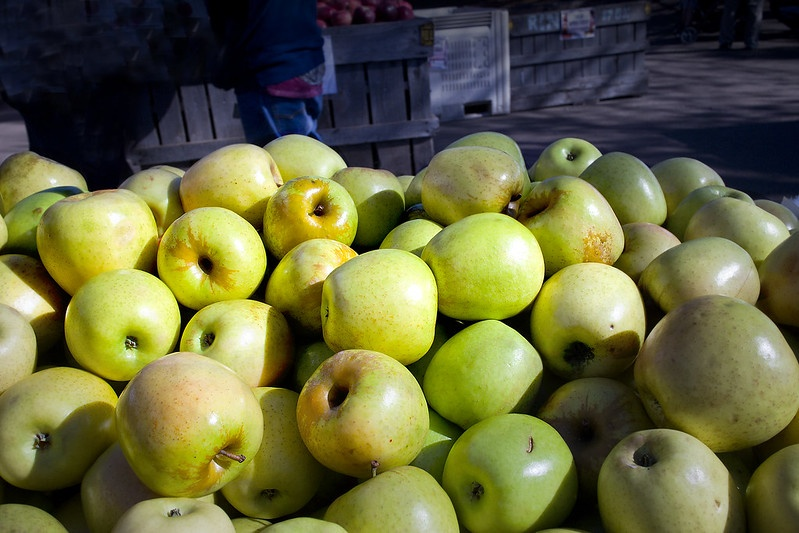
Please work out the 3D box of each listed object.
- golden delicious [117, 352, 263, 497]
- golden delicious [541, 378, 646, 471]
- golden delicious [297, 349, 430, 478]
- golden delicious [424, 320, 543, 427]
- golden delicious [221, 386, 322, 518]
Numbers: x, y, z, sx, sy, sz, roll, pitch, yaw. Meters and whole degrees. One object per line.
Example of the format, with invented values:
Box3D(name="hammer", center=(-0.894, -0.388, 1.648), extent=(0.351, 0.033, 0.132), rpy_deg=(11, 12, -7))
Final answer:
Box3D(name="golden delicious", center=(-0.781, 0.592, 2.513), extent=(0.507, 0.417, 0.339), rpy_deg=(11, 30, 12))
Box3D(name="golden delicious", center=(0.806, 0.623, 2.776), extent=(0.318, 0.358, 0.364), rpy_deg=(-21, 65, 20))
Box3D(name="golden delicious", center=(-0.132, 0.557, 2.654), extent=(0.429, 0.437, 0.472), rpy_deg=(7, 59, -52))
Box3D(name="golden delicious", center=(0.318, 0.423, 2.783), extent=(0.382, 0.424, 0.412), rpy_deg=(-29, 65, -19))
Box3D(name="golden delicious", center=(-0.455, 0.647, 2.712), extent=(0.249, 0.299, 0.246), rpy_deg=(-8, -1, -45))
